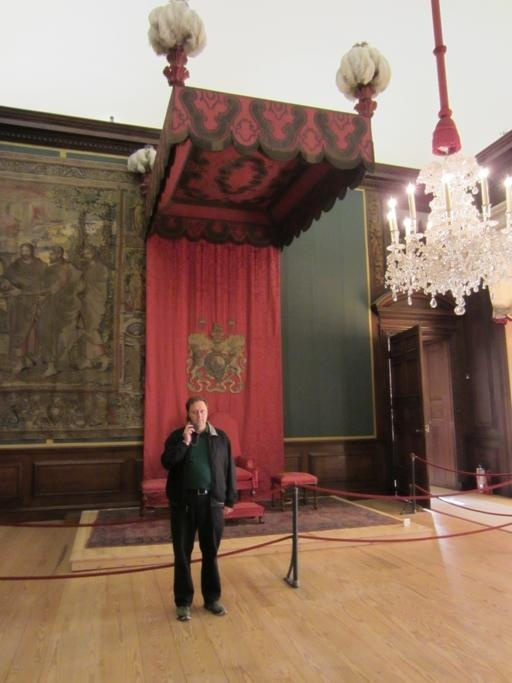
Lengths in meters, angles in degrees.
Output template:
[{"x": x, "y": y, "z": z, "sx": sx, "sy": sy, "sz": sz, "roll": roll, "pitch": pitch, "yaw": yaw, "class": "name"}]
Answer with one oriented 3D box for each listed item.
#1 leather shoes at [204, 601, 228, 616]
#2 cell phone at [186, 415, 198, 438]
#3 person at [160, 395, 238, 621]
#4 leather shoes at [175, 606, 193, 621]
[{"x": -0.275, "y": 1.789, "z": 3.520, "sx": 0.068, "sy": 0.058, "sz": 0.136, "roll": 9, "pitch": -18, "yaw": -44, "class": "leather shoes"}, {"x": -0.446, "y": 0.569, "z": 3.563, "sx": 0.050, "sy": 0.121, "sz": 0.091, "roll": -6, "pitch": -23, "yaw": 14, "class": "cell phone"}, {"x": -0.394, "y": 1.105, "z": 3.572, "sx": 0.417, "sy": 1.429, "sz": 0.454, "roll": -4, "pitch": -9, "yaw": 29, "class": "person"}, {"x": -0.476, "y": 1.772, "z": 3.458, "sx": 0.095, "sy": 0.079, "sz": 0.205, "roll": 1, "pitch": -7, "yaw": -7, "class": "leather shoes"}]
